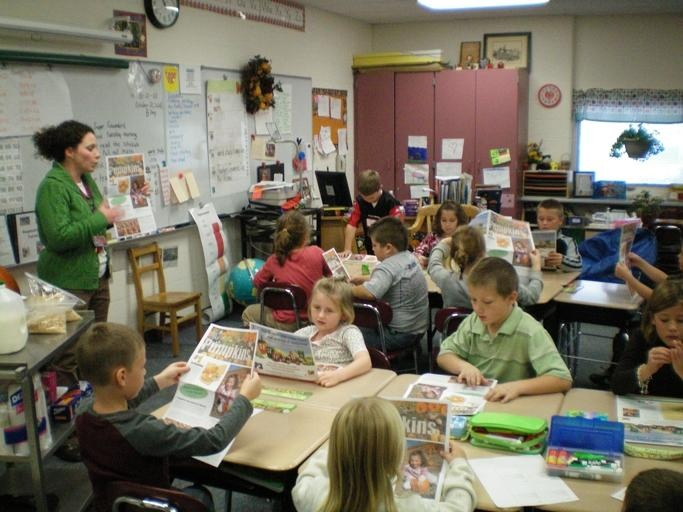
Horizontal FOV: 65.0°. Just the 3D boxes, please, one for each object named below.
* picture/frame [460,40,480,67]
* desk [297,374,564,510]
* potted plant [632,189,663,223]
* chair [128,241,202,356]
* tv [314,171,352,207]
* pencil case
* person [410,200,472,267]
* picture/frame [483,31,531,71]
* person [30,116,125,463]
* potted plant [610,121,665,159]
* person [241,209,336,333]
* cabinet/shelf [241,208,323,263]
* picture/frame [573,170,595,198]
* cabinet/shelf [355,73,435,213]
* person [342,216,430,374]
[{"bbox_3d":[1.788,-2.849,7.489,0.292,0.345,0.211,2,13,13],"label":"picture/frame"},{"bbox_3d":[0.542,0.630,2.188,0.588,0.490,0.560,3,15,-2],"label":"desk"},{"bbox_3d":[3.606,-0.573,6.365,0.282,0.362,0.329,6,14,28],"label":"potted plant"},{"bbox_3d":[-1.535,0.322,4.884,0.553,1.019,0.420,4,9,25],"label":"chair"},{"bbox_3d":[-0.121,-0.790,6.320,0.464,0.417,0.158,8,27,39],"label":"tv"},{"bbox_3d":[0.846,0.663,1.872,0.195,0.048,0.202,-1,34,13],"label":"pencil case"},{"bbox_3d":[0.867,-0.200,4.705,0.532,0.797,0.498,4,5,41],"label":"person"},{"bbox_3d":[2.286,-2.840,7.372,0.696,0.638,0.112,4,11,24],"label":"picture/frame"},{"bbox_3d":[-1.769,0.336,3.691,0.517,2.438,0.567,14,16,29],"label":"person"},{"bbox_3d":[3.889,-1.519,7.087,0.631,0.471,0.411,5,14,26],"label":"potted plant"},{"bbox_3d":[-0.384,0.109,4.004,0.492,0.947,0.563,8,16,4],"label":"person"},{"bbox_3d":[-0.690,-0.266,5.966,0.572,0.603,0.818,5,16,21],"label":"cabinet/shelf"},{"bbox_3d":[3.169,-0.959,7.057,0.315,0.427,0.285,-3,5,-33],"label":"picture/frame"},{"bbox_3d":[0.645,-1.653,7.639,1.020,1.866,0.457,3,16,-3],"label":"cabinet/shelf"},{"bbox_3d":[0.270,0.312,3.695,0.582,1.126,0.486,0,8,-2],"label":"person"}]
